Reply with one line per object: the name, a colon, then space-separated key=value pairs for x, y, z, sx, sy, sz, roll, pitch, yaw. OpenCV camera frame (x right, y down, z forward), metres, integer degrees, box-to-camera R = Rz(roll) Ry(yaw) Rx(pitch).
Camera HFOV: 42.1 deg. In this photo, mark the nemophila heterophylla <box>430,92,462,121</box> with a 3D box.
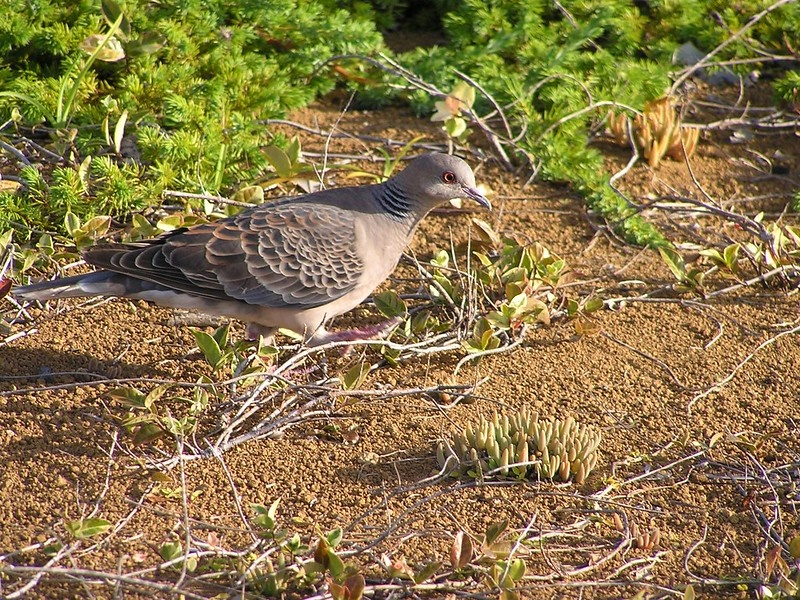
nemophila heterophylla: x=0.338 y=-1.360 z=7.215 sx=0.192 sy=0.200 sz=0.319 roll=8 pitch=27 yaw=2
